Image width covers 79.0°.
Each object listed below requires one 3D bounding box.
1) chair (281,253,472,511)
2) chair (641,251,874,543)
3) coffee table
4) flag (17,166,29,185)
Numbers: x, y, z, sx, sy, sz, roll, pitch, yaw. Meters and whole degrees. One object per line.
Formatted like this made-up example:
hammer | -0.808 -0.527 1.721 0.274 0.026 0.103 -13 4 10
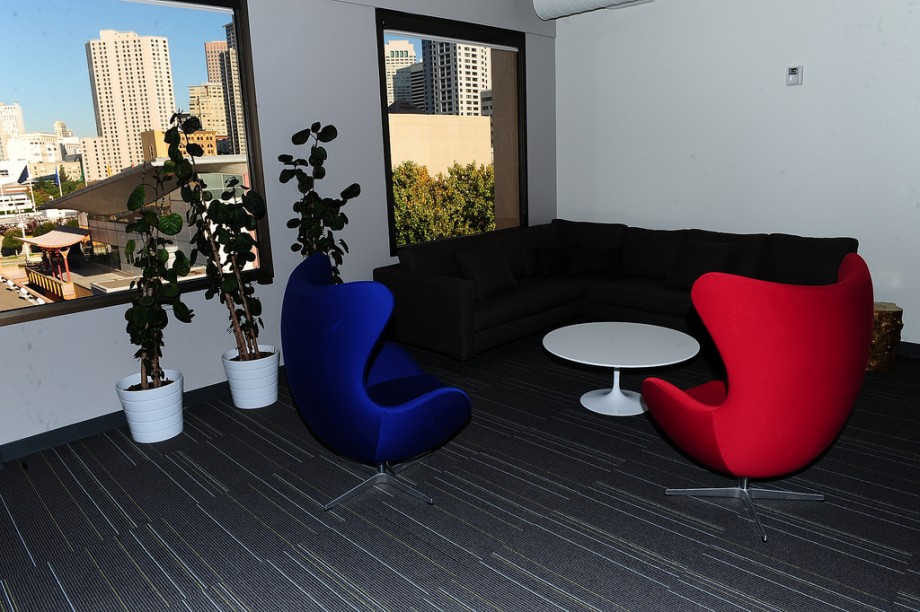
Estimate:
chair | -0.514 0.461 3.727 1.253 1.465 1.244 4 14 17
chair | 1.794 0.492 3.438 1.270 1.494 1.186 -2 5 -4
coffee table | 1.184 0.524 4.243 1.106 0.510 1.069 -14 22 -40
flag | -3.166 -0.955 4.087 0.119 0.110 0.028 9 1 27
